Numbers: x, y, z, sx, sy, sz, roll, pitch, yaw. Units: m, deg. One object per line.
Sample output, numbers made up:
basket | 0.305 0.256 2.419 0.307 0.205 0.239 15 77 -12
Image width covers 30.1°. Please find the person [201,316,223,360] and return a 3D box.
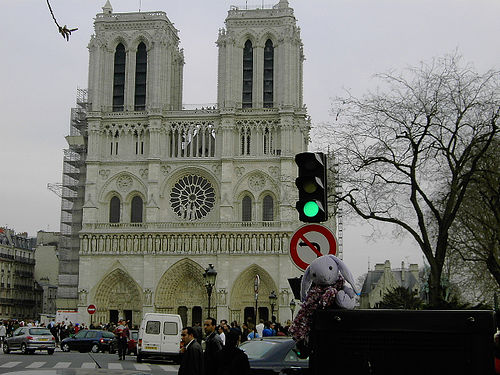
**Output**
person | -1.088 4.299 26.575 0.522 1.261 0.437 -6 -6 1

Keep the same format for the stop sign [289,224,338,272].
stop sign | 1.588 1.523 23.386 1.191 1.092 0.682 -1 -17 5

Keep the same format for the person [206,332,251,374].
person | -0.446 3.949 22.151 0.683 0.997 0.645 -3 -9 11

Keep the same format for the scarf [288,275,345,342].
scarf | 1.387 2.500 20.206 1.101 1.466 0.590 18 -29 32
